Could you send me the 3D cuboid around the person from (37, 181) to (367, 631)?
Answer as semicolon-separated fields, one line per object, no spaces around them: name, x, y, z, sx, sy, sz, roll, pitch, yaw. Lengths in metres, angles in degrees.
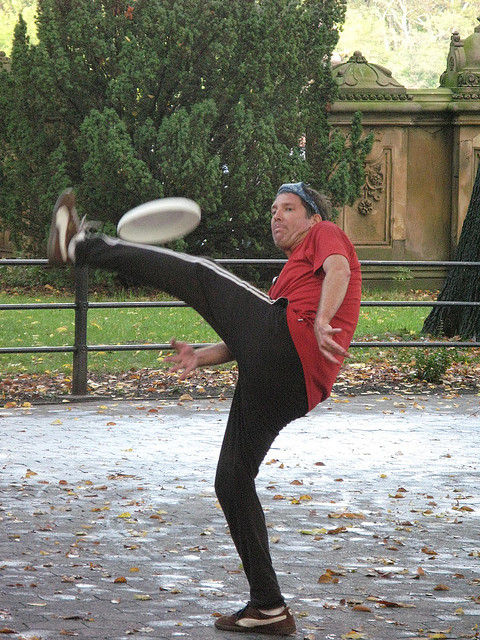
person;-0.107;0.301;4.663;1.086;1.675;0.731;3;5;7

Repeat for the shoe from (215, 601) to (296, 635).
shoe;0.065;1.125;4.521;0.322;0.120;0.113;4;-7;10

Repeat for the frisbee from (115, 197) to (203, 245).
frisbee;-0.326;-0.374;4.594;0.351;0.063;0.334;-15;-13;11

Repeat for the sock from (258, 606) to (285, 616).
sock;0.117;1.080;4.460;0.090;0.033;0.028;-4;-5;-1
